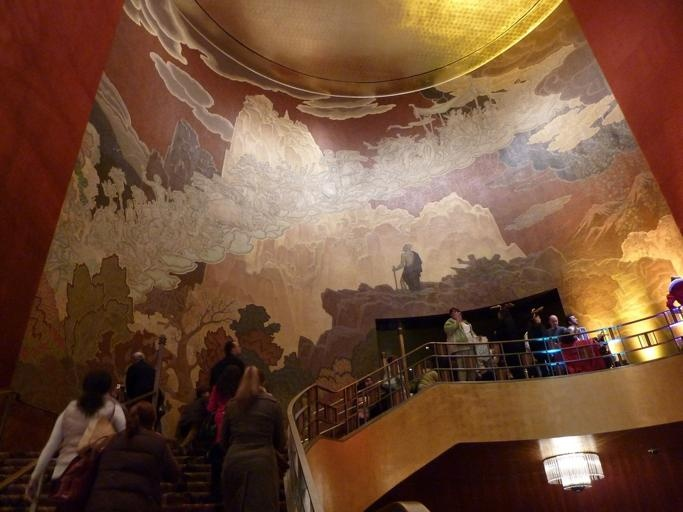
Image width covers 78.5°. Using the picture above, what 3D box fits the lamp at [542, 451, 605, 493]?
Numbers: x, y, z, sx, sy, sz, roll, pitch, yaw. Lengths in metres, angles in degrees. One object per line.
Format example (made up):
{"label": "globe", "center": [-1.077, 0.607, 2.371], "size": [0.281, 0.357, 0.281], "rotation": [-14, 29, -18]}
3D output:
{"label": "lamp", "center": [5.006, 4.689, 9.184], "size": [1.069, 0.725, 1.127], "rotation": [-3, -22, -2]}
